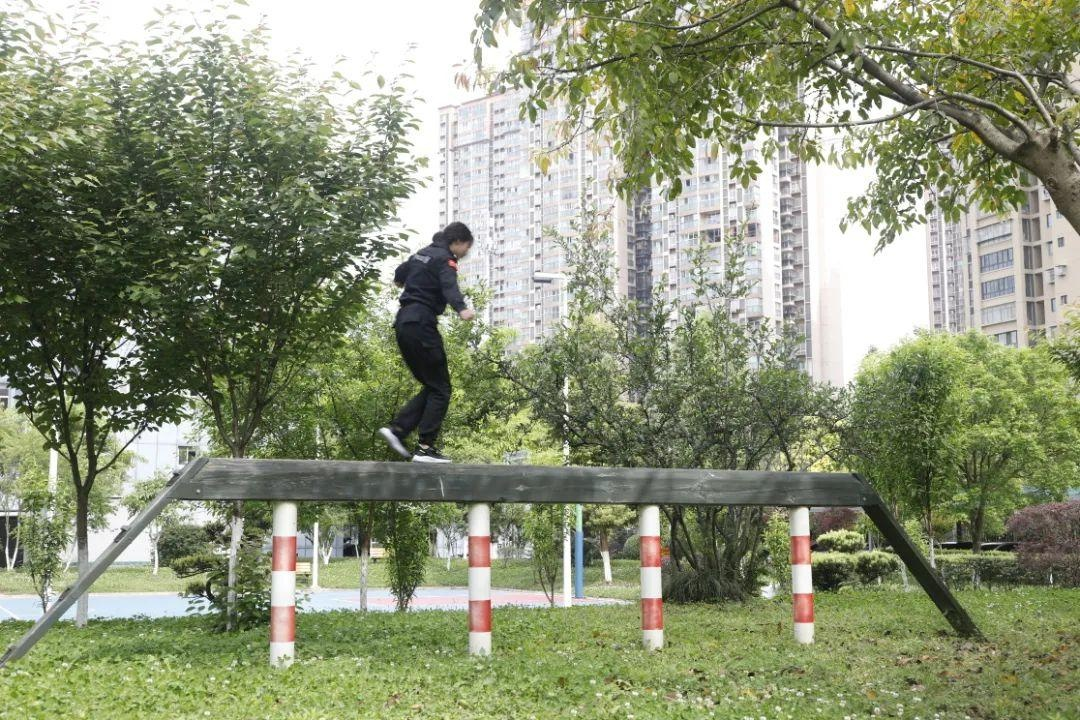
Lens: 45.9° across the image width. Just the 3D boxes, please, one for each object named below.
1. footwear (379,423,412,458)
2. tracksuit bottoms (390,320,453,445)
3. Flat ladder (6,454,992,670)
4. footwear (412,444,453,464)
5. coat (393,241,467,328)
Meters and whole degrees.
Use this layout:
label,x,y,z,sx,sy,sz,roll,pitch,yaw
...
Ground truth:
label,x,y,z,sx,sy,sz,roll,pitch,yaw
footwear,-2.264,1.301,20.217,0.480,0.482,0.804,0,-13,-7
tracksuit bottoms,-1.867,0.353,20.185,0.967,1.966,0.711,1,-13,-10
Flat ladder,-0.344,3.053,20.273,13.989,3.158,1.111,0,-13,-9
footwear,-1.728,1.492,20.163,0.686,0.274,0.258,4,-8,-8
coat,-1.705,-1.204,20.157,1.282,1.234,0.446,-10,-15,31
